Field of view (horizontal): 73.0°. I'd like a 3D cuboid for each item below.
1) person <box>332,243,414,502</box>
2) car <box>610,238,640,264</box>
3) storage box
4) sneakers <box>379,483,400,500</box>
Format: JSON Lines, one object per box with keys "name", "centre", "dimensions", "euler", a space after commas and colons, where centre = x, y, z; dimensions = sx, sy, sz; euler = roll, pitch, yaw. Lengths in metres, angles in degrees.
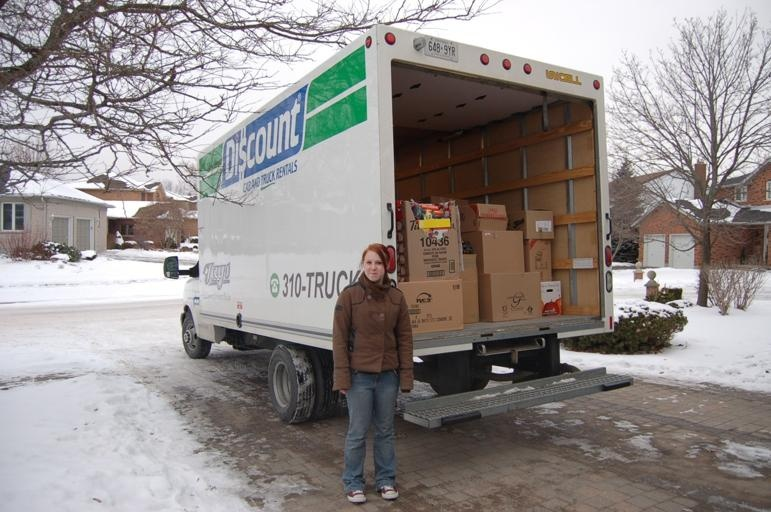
{"name": "person", "centre": [-0.114, 1.231, 5.532], "dimensions": [0.858, 2.685, 0.554], "euler": [-1, 8, -6]}
{"name": "car", "centre": [18.137, -0.489, 39.101], "dimensions": [1.091, 2.005, 2.029], "euler": [-1, 1, -3]}
{"name": "storage box", "centre": [0.826, 0.152, 7.309], "dimensions": [1.812, 1.169, 1.805], "euler": [0, -3, -27]}
{"name": "sneakers", "centre": [0.035, 2.505, 5.539], "dimensions": [0.211, 0.158, 0.160], "euler": [0, 8, -1]}
